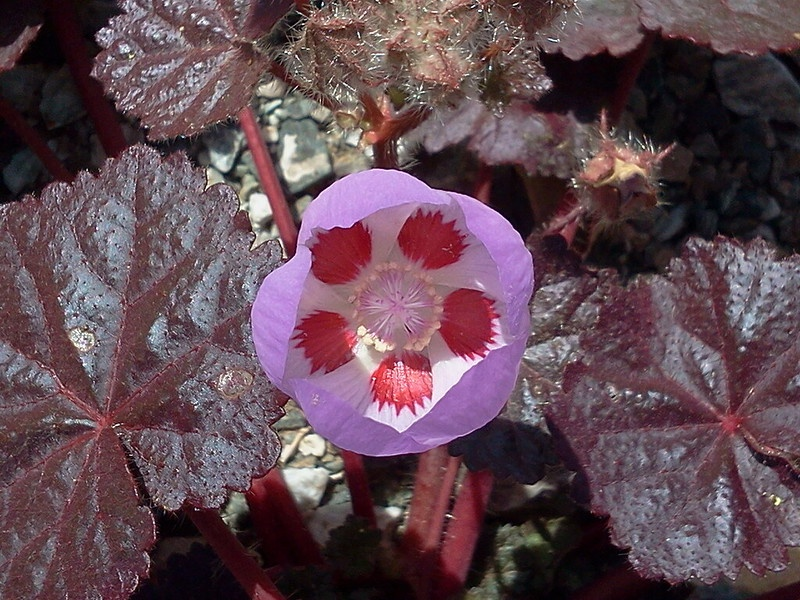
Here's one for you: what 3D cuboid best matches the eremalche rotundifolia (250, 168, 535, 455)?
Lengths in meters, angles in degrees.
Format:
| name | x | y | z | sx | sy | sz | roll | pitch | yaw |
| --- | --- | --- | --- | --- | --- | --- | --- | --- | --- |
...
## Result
| name | x | y | z | sx | sy | sz | roll | pitch | yaw |
| --- | --- | --- | --- | --- | --- | --- | --- | --- | --- |
| eremalche rotundifolia | -0.043 | 0.051 | 3.403 | 0.844 | 0.510 | 0.986 | -12 | 57 | 4 |
